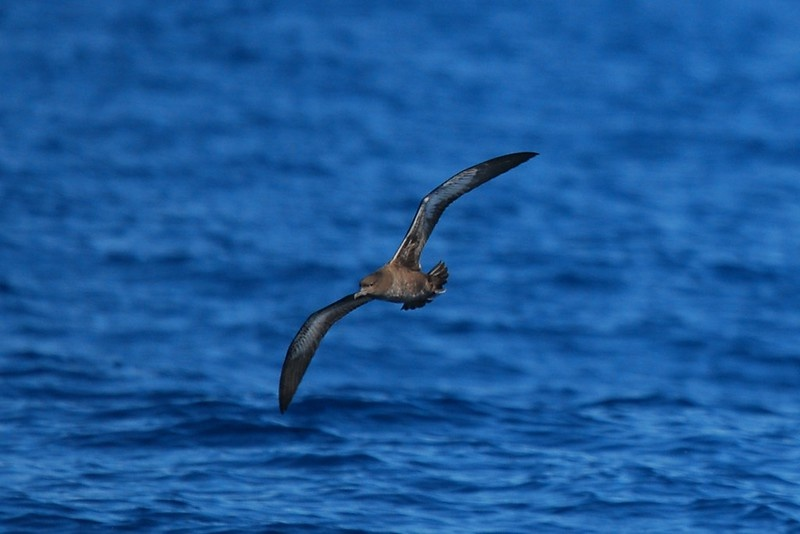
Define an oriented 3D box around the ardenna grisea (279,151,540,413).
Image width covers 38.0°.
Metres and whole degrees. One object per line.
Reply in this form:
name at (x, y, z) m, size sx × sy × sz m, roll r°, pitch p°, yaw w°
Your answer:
ardenna grisea at (-0.074, 0.027, 16.583) m, size 3.419 × 3.477 × 1.438 m, roll -8°, pitch -17°, yaw 29°
